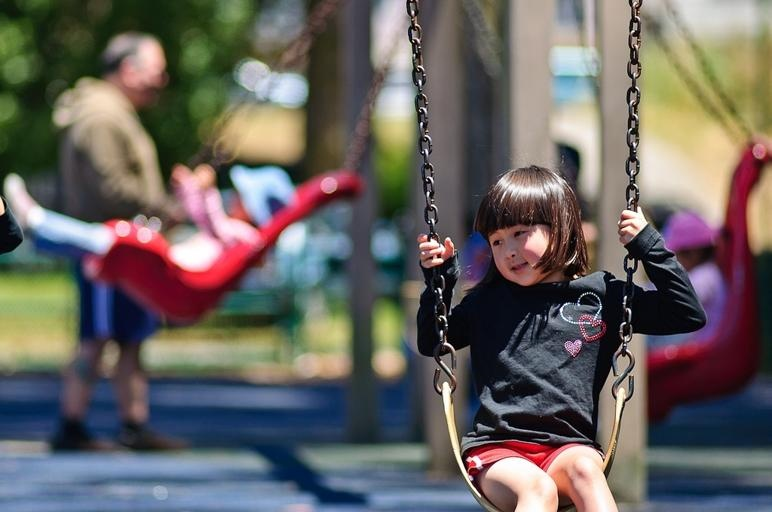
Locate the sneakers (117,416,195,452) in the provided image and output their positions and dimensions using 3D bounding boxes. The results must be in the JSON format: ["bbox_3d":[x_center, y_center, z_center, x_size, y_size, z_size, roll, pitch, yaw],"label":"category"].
[{"bbox_3d":[-1.318,1.023,7.853,0.457,0.197,0.159,1,-1,-10],"label":"sneakers"}]

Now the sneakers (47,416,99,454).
[{"bbox_3d":[-1.795,1.035,7.819,0.213,0.212,0.219,1,-4,22],"label":"sneakers"}]

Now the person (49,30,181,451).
[{"bbox_3d":[-1.549,-0.091,8.164,0.950,2.480,0.868,-2,7,-34],"label":"person"}]
